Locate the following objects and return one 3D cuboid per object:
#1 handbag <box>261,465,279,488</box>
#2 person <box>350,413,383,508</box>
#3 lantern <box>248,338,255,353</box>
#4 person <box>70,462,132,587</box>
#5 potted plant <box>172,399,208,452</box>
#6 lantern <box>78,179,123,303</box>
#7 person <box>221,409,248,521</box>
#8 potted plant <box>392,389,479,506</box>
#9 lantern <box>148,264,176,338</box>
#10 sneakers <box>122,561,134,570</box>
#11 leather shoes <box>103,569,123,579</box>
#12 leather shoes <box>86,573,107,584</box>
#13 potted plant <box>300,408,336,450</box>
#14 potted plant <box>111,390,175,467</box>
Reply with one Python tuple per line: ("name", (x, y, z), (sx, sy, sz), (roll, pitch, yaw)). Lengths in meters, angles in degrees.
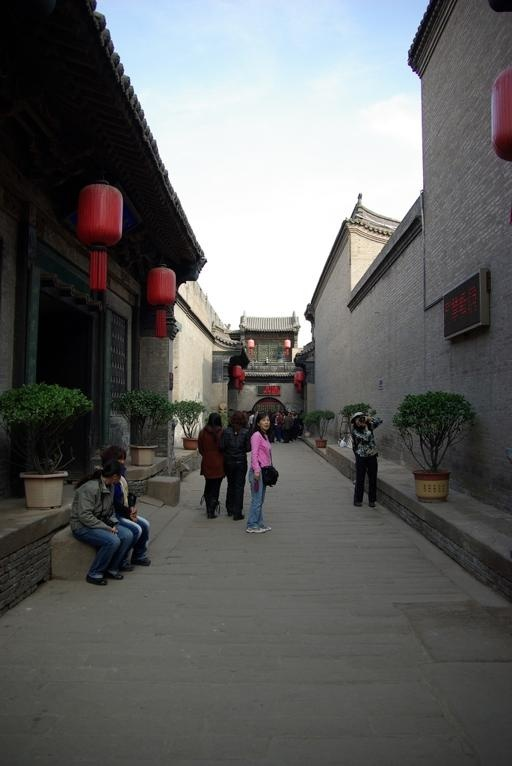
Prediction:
("handbag", (0.138, 0.975, 4.724), (0.198, 0.259, 0.207), (0, -1, -1))
("person", (1.494, 1.013, 6.068), (0.377, 1.208, 1.138), (-1, -8, 12))
("lantern", (-0.408, -2.274, 28.822), (0.342, 0.924, 1.018), (1, -8, -1))
("person", (-1.069, 0.948, 3.172), (0.431, 0.796, 0.300), (7, -10, -41))
("potted plant", (-1.623, 0.890, 10.763), (0.964, 1.635, 1.116), (-1, 0, -13))
("lantern", (-1.311, -1.171, 3.745), (0.344, 0.887, 0.260), (3, -8, -20))
("person", (-0.247, 0.950, 5.343), (0.310, 1.253, 0.678), (1, -8, -3))
("potted plant", (1.938, 0.677, 4.877), (0.881, 1.115, 0.745), (13, -15, -33))
("lantern", (-1.434, -1.083, 6.725), (0.405, 1.023, 0.878), (2, -8, -15))
("sneakers", (-0.971, 1.369, 3.446), (0.041, 0.056, 0.118), (2, -15, -9))
("leather shoes", (-1.004, 1.319, 3.204), (0.145, 0.069, 0.051), (2, -2, 0))
("leather shoes", (-1.080, 1.290, 3.065), (0.152, 0.073, 0.055), (2, -3, 6))
("potted plant", (2.285, 1.823, 17.305), (1.461, 1.843, 1.280), (-1, 1, 38))
("potted plant", (-1.643, 0.566, 6.721), (0.819, 1.230, 0.977), (0, 1, -27))
